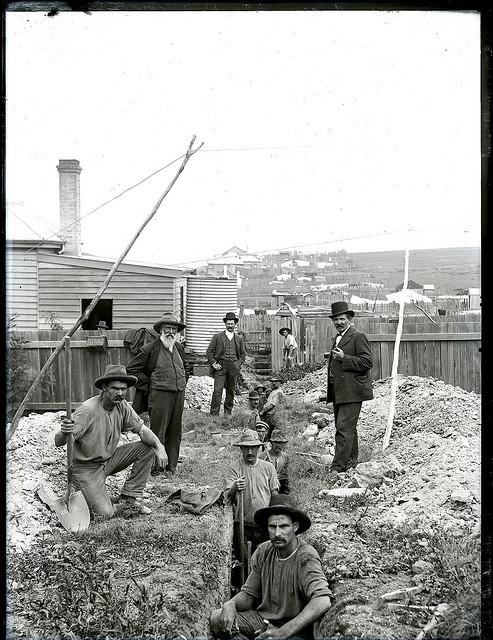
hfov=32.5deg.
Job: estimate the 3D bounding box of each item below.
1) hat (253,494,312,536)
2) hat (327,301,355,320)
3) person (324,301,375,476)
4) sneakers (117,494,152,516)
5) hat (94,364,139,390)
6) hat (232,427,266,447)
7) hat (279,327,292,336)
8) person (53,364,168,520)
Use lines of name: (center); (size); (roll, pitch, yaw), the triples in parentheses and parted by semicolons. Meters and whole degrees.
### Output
hat: (0.267, 1.572, 6.804); (0.458, 0.264, 0.652); (0, -37, 9)
hat: (1.559, -0.155, 13.936); (0.436, 0.356, 0.607); (-5, -10, 9)
person: (1.269, 0.821, 10.423); (0.528, 2.025, 0.586); (1, 0, 6)
sneakers: (-1.109, 1.834, 8.391); (0.353, 0.211, 0.155); (0, 7, -2)
hat: (-1.383, 0.607, 9.103); (0.401, 0.250, 0.541); (0, -16, -10)
hat: (0.041, 1.393, 10.064); (0.501, 0.310, 0.653); (0, -11, 4)
hat: (0.956, 0.297, 20.758); (0.228, 0.228, 0.851); (2, 0, 4)
person: (-1.377, 1.208, 8.141); (0.994, 1.546, 0.685); (-10, 22, -36)
